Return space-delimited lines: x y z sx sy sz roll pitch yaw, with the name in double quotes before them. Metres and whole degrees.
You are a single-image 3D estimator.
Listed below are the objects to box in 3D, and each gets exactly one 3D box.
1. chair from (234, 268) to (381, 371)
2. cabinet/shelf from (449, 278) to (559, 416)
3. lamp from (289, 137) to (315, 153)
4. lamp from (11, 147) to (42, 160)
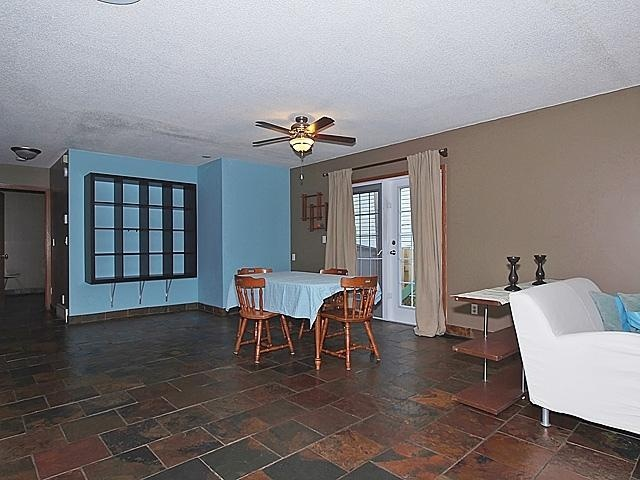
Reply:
"chair" -0.098 0.853 4.791 1.558 1.028 1.442 0 7 2
"cabinet/shelf" 1.653 0.973 3.593 1.209 0.527 0.273 -2 3 -44
"lamp" -0.221 -1.064 4.485 0.181 0.062 0.168 -1 1 21
"lamp" -4.449 -1.328 6.070 0.280 0.083 0.261 -3 -1 1
